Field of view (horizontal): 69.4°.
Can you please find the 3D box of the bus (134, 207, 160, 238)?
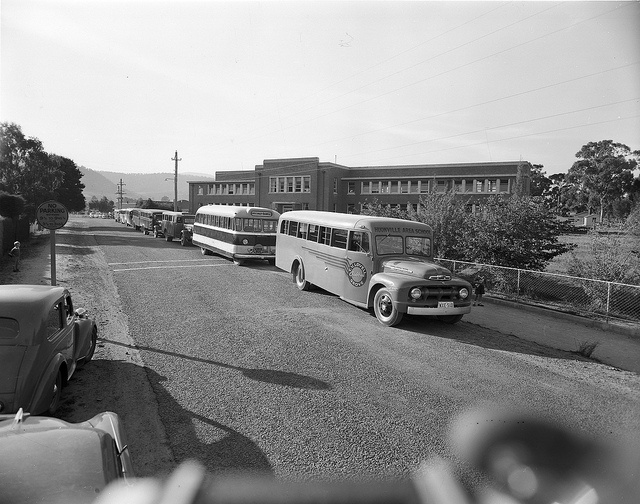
[{"bbox_3d":[-16.181,-3.018,45.454,2.380,2.423,8.534,-3,5,-28],"label":"bus"}]
